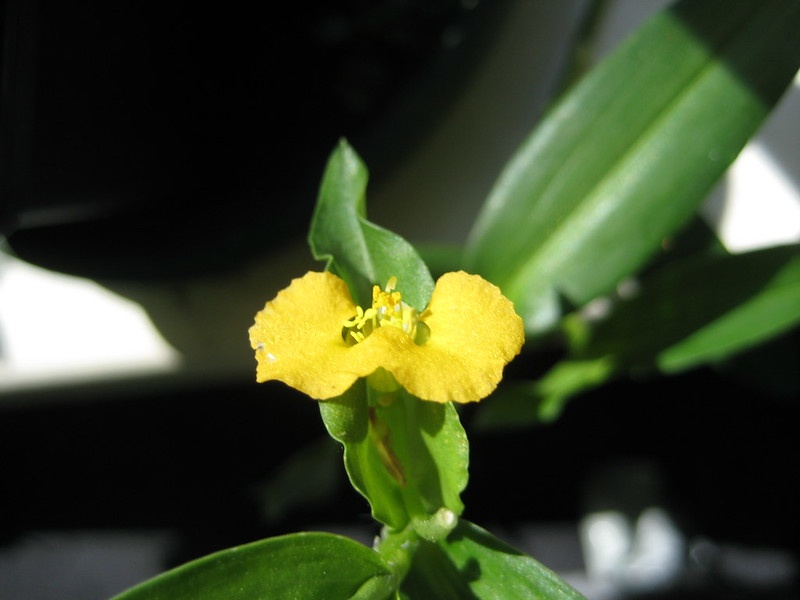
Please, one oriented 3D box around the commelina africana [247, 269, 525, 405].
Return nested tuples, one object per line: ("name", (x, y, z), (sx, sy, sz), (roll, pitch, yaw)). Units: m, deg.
("commelina africana", (-0.013, 0.032, 0.630), (0.237, 0.067, 0.115), (2, 78, -4))
